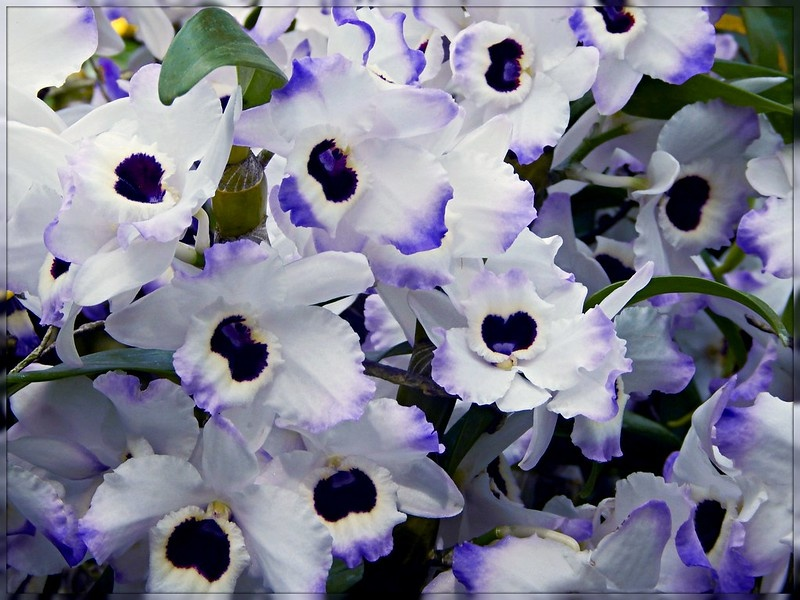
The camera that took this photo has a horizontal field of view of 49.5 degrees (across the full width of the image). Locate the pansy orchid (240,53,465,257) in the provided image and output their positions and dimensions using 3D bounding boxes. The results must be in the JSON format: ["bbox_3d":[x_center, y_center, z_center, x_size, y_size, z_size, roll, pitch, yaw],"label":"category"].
[{"bbox_3d":[-0.034,-0.122,0.653,0.161,0.137,0.175,-4,105,-2],"label":"pansy orchid"}]

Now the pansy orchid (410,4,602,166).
[{"bbox_3d":[0.115,-0.215,0.834,0.129,0.082,0.180,2,99,12],"label":"pansy orchid"}]

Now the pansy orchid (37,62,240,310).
[{"bbox_3d":[-0.220,-0.095,0.768,0.127,0.153,0.217,-10,110,-39],"label":"pansy orchid"}]
